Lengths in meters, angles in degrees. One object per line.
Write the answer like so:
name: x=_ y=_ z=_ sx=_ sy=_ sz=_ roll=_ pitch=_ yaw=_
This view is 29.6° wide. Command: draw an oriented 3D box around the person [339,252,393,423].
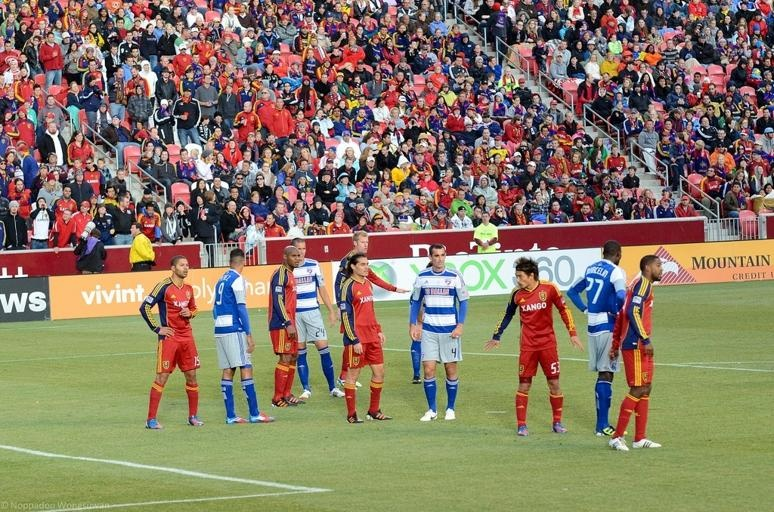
person: x=-0.517 y=1.776 z=30.959 sx=0.916 sy=3.463 sz=1.138 roll=-2 pitch=13 yaw=-3

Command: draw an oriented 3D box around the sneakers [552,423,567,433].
sneakers: x=3.592 y=3.547 z=30.106 sx=0.126 sy=0.155 sz=0.343 roll=-1 pitch=-1 yaw=-36

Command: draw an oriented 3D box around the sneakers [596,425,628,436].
sneakers: x=4.549 y=3.554 z=29.775 sx=0.503 sy=0.219 sz=0.205 roll=-2 pitch=3 yaw=8

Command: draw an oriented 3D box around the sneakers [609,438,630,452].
sneakers: x=4.635 y=3.752 z=29.039 sx=0.390 sy=0.185 sz=0.203 roll=2 pitch=7 yaw=29

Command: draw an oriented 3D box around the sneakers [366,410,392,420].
sneakers: x=-0.168 y=3.383 z=31.101 sx=0.553 sy=0.240 sz=0.202 roll=0 pitch=0 yaw=2

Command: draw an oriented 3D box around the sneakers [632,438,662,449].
sneakers: x=5.237 y=3.768 z=29.306 sx=0.599 sy=0.244 sz=0.220 roll=-2 pitch=2 yaw=0

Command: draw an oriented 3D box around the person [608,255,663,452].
person: x=4.993 y=1.928 z=29.161 sx=0.972 sy=3.736 sz=1.243 roll=1 pitch=13 yaw=10

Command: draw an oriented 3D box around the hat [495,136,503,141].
hat: x=3.862 y=-3.985 z=49.956 sx=0.232 sy=0.176 sz=0.213 roll=-10 pitch=-21 yaw=15

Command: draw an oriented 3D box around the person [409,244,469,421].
person: x=1.100 y=1.623 z=30.983 sx=1.196 sy=3.667 sz=1.087 roll=4 pitch=14 yaw=22

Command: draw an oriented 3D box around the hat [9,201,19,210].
hat: x=-10.791 y=-1.445 z=42.091 sx=0.183 sy=0.189 sz=0.242 roll=9 pitch=-29 yaw=-25

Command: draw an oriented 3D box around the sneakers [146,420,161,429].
sneakers: x=-4.928 y=3.533 z=30.684 sx=0.295 sy=0.206 sz=0.160 roll=1 pitch=3 yaw=0

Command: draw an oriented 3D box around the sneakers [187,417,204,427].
sneakers: x=-4.068 y=3.501 z=30.894 sx=0.307 sy=0.134 sz=0.164 roll=-1 pitch=-1 yaw=27

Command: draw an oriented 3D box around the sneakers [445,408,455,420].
sneakers: x=1.341 y=3.365 z=31.046 sx=0.206 sy=0.163 sz=0.402 roll=-1 pitch=-4 yaw=3

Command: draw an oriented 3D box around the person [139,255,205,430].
person: x=-4.574 y=1.789 z=30.892 sx=1.099 sy=3.534 sz=1.326 roll=-3 pitch=13 yaw=-9
